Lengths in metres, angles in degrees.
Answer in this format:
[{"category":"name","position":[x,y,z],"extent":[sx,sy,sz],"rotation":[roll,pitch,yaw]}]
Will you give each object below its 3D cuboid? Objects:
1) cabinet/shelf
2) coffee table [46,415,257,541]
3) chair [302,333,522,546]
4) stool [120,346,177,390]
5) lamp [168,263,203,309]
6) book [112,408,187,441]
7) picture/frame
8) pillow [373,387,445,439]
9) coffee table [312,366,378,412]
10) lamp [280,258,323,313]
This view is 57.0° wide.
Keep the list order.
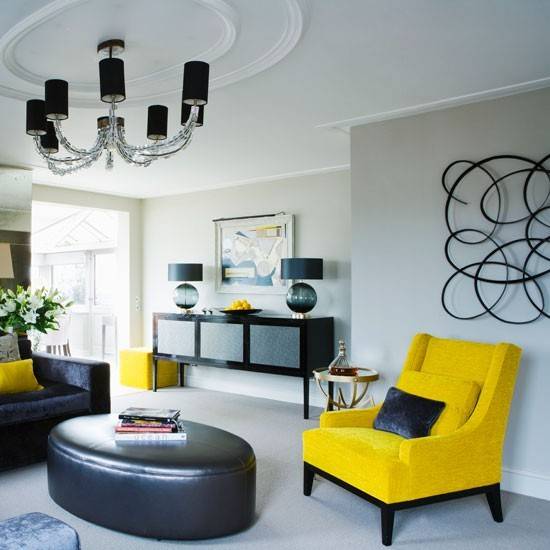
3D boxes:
[{"category":"cabinet/shelf","position":[-0.446,0.940,5.781],"extent":[2.256,0.958,0.579],"rotation":[-1,-2,34]},{"category":"coffee table","position":[-0.684,1.099,2.744],"extent":[1.154,0.405,0.587],"rotation":[1,-2,31]},{"category":"chair","position":[0.774,0.833,3.197],"extent":[1.174,1.171,1.066],"rotation":[4,-7,-24]},{"category":"stool","position":[-1.625,1.200,6.501],"extent":[0.559,0.434,0.555],"rotation":[-1,-2,25]},{"category":"lamp","position":[-1.113,0.139,6.253],"extent":[0.411,0.583,0.507],"rotation":[2,-2,-10]},{"category":"book","position":[-0.713,0.847,2.850],"extent":[0.253,0.081,0.246],"rotation":[2,-3,-8]},{"category":"picture/frame","position":[-0.267,-0.220,6.041],"extent":[1.143,0.910,0.082],"rotation":[-4,4,-38]},{"category":"pillow","position":[0.786,0.820,2.944],"extent":[0.107,0.219,0.362],"rotation":[30,-12,-18]},{"category":"coffee table","position":[0.531,0.888,3.766],"extent":[0.486,0.328,0.473],"rotation":[0,-6,2]},{"category":"lamp","position":[0.259,0.113,5.092],"extent":[0.529,0.616,0.529],"rotation":[-2,-3,29]}]
